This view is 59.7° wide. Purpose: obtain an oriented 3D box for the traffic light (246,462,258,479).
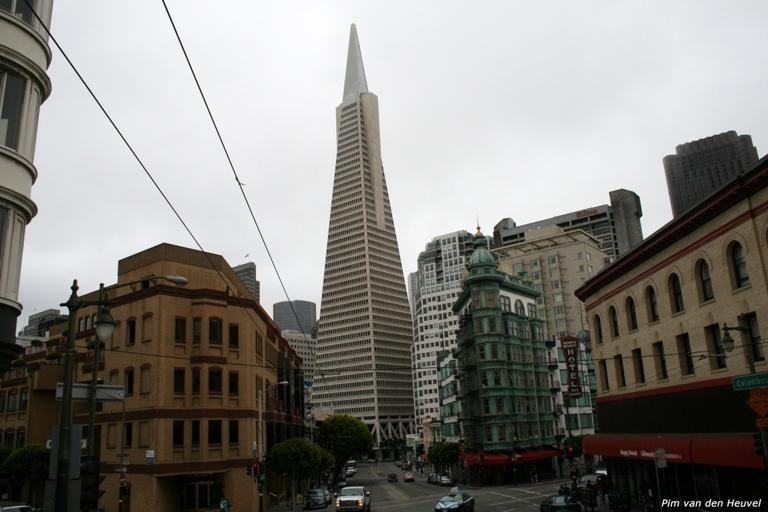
[{"bbox_3d":[-9.866,15.862,50.324,0.746,0.920,1.366,2,-25,-10],"label":"traffic light"}]
